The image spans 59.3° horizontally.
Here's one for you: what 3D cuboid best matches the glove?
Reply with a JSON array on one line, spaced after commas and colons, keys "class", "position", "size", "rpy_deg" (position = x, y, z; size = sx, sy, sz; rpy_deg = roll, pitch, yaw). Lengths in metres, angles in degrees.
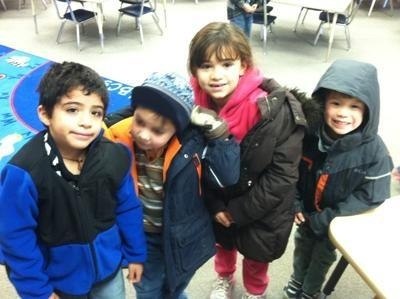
[{"class": "glove", "position": [0.044, -0.117, 1.611], "size": [0.083, 0.176, 0.104], "rpy_deg": [-17, 40, 58]}]
